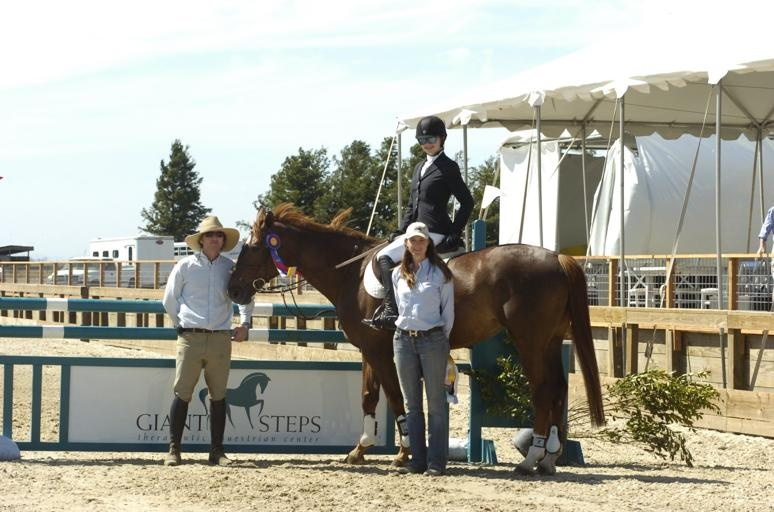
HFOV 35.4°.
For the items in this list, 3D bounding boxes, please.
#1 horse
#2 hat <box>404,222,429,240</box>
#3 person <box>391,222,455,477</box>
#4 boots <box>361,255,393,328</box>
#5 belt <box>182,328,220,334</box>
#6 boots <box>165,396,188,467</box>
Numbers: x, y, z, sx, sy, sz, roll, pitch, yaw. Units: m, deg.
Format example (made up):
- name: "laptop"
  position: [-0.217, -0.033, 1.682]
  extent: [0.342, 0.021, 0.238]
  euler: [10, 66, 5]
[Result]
- name: "horse"
  position: [0.423, 1.151, 17.331]
  extent: [5.052, 4.261, 1.537]
  euler: [-2, 8, 3]
- name: "hat"
  position: [0.380, -0.360, 16.533]
  extent: [0.342, 0.254, 0.284]
  euler: [-1, -4, 2]
- name: "person"
  position: [0.463, 1.172, 16.453]
  extent: [1.322, 3.883, 0.719]
  euler: [1, -3, -5]
- name: "boots"
  position: [-0.151, 0.486, 16.626]
  extent: [0.345, 1.027, 0.379]
  euler: [1, 0, -16]
- name: "belt"
  position: [-2.635, 1.013, 16.864]
  extent: [0.519, 0.070, 0.079]
  euler: [0, -4, -11]
- name: "boots"
  position: [-2.964, 2.414, 16.979]
  extent: [0.303, 0.941, 0.352]
  euler: [0, -4, -12]
